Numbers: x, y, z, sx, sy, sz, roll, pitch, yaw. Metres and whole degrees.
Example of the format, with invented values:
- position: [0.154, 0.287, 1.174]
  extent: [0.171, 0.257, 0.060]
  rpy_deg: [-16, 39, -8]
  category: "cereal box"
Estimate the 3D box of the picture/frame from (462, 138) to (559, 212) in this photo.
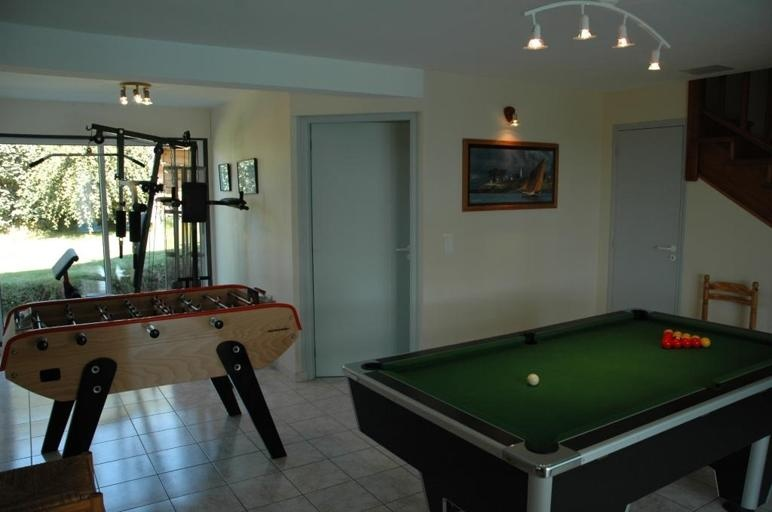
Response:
- position: [1.326, -0.854, 5.689]
  extent: [1.302, 0.708, 0.059]
  rpy_deg: [-5, 9, -27]
  category: "picture/frame"

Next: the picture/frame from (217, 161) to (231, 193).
- position: [-2.127, -1.042, 7.058]
  extent: [0.083, 0.452, 0.443]
  rpy_deg: [-9, 11, -32]
  category: "picture/frame"

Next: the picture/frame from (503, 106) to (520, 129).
- position: [1.297, -1.452, 5.621]
  extent: [0.148, 0.224, 0.058]
  rpy_deg: [-4, -4, 2]
  category: "picture/frame"

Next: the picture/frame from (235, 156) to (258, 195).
- position: [-1.647, -0.951, 6.356]
  extent: [0.072, 0.370, 0.530]
  rpy_deg: [-6, 8, -30]
  category: "picture/frame"
